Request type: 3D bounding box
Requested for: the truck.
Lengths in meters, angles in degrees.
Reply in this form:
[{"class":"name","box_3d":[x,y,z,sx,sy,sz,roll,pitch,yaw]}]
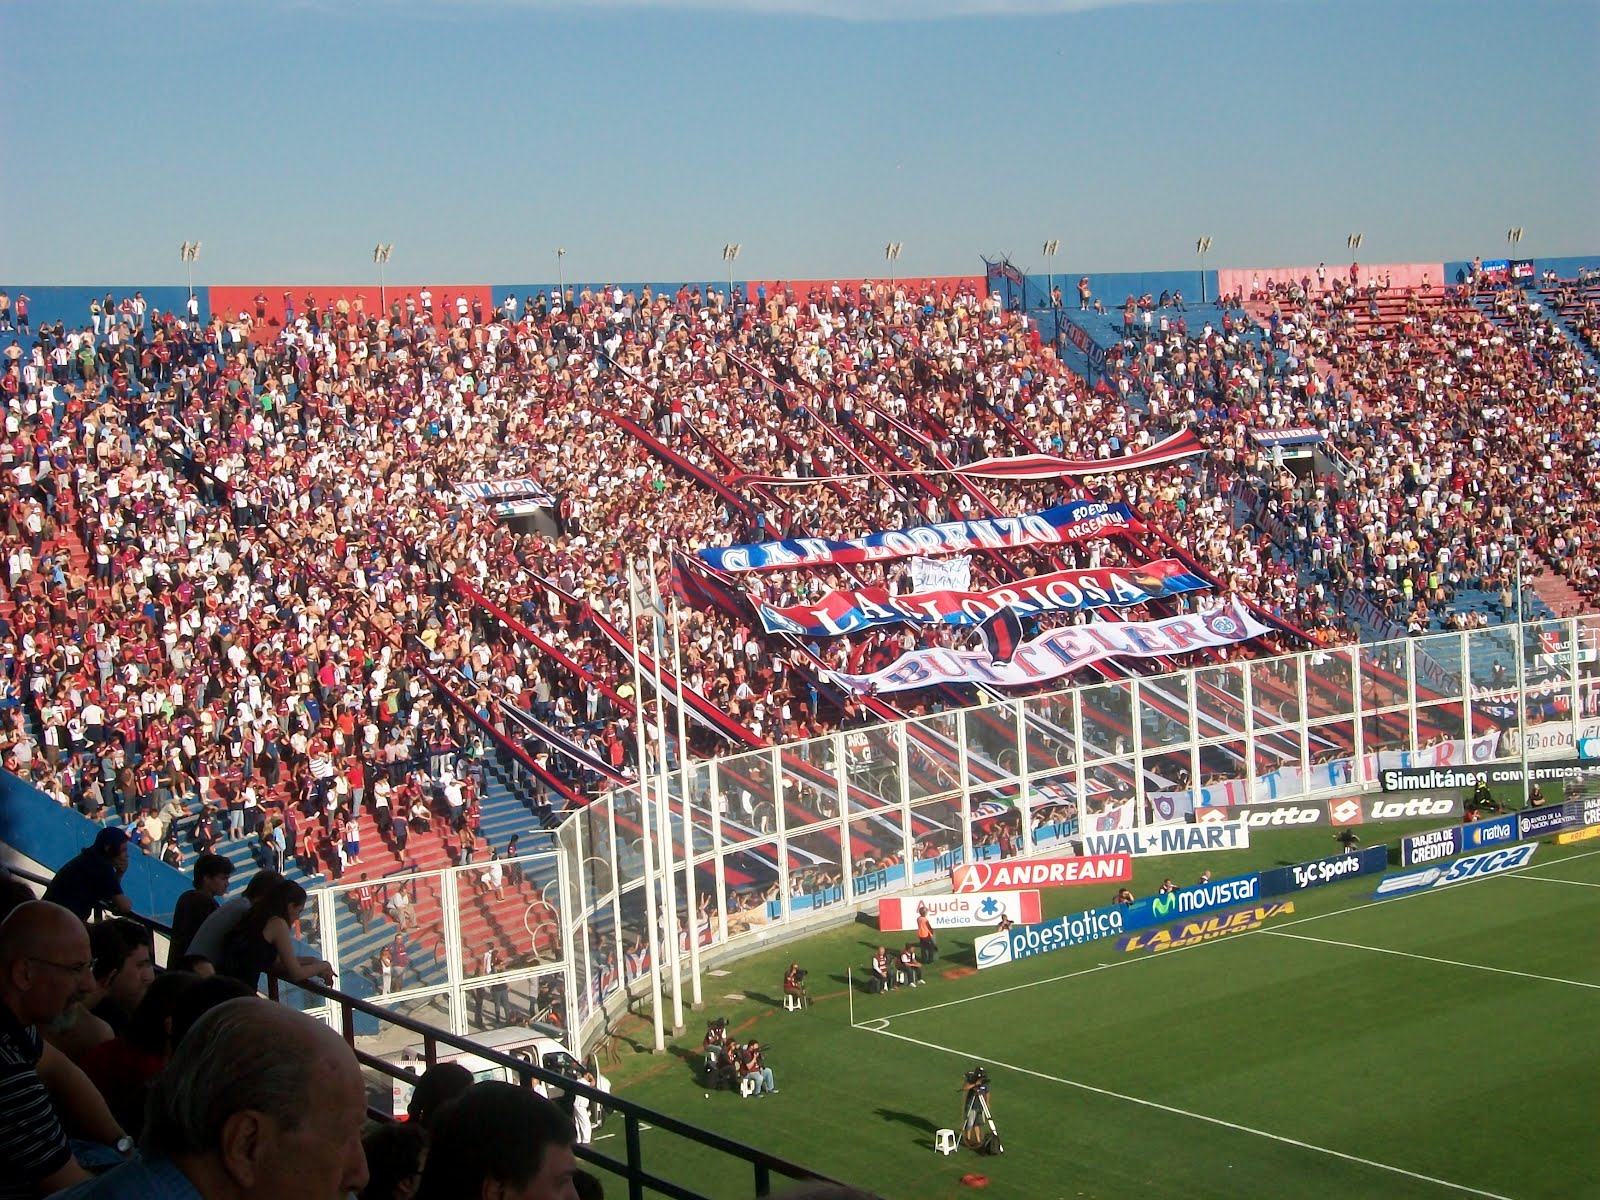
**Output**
[{"class":"truck","box_3d":[-6.908,10.844,70.598,2.608,2.374,4.524,2,-7,-34]}]
